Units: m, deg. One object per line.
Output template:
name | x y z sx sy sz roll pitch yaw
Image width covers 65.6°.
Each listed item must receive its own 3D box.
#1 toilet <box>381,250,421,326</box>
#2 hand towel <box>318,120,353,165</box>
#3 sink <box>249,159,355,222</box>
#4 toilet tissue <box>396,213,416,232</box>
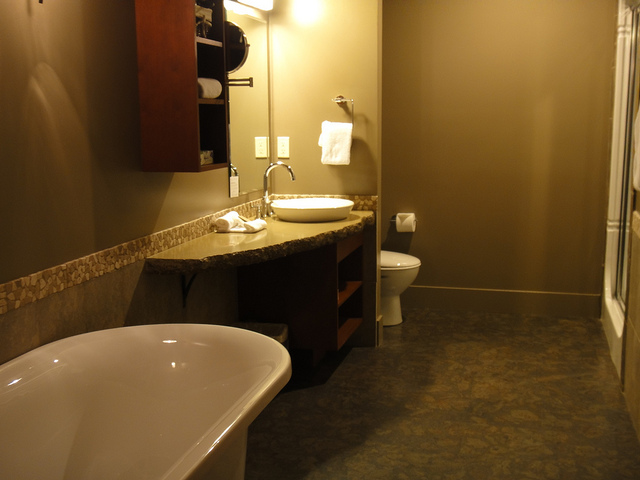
toilet | 0.593 0.378 4.087 0.523 0.486 0.429 3 8 26
hand towel | 0.107 -0.663 3.377 0.227 0.277 0.083 -3 12 0
sink | -0.130 -0.263 3.234 0.547 0.363 0.444 3 16 14
toilet tissue | 0.717 -0.147 4.191 0.162 0.167 0.135 0 23 9
